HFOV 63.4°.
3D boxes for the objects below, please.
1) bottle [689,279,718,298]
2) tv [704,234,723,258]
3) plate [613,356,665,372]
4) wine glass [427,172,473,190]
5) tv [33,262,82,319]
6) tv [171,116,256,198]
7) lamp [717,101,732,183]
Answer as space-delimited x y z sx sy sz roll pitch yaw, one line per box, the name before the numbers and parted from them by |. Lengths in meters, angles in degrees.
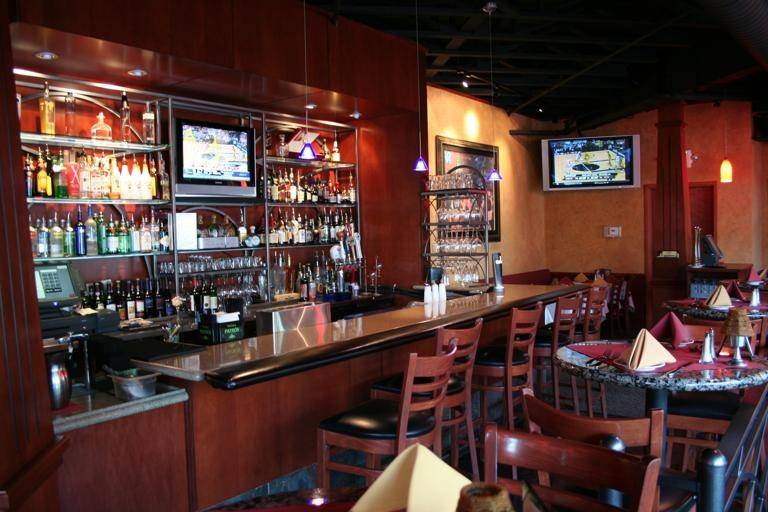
bottle | 4.145 0.423 8.059 0.143 0.276 0.296 2 -1 -42
tv | 4.781 -0.127 9.024 0.202 0.351 0.358 -9 -1 31
plate | 1.471 0.625 3.585 0.297 0.058 0.155 -3 4 21
wine glass | 0.734 -0.818 6.933 0.403 0.137 0.235 0 4 13
tv | -2.124 0.233 4.034 0.307 0.281 0.172 -8 -35 -33
tv | -1.662 -0.928 6.009 0.315 0.704 0.899 -4 -4 41
lamp | 5.356 -1.680 9.770 0.212 1.104 0.791 -3 4 28
